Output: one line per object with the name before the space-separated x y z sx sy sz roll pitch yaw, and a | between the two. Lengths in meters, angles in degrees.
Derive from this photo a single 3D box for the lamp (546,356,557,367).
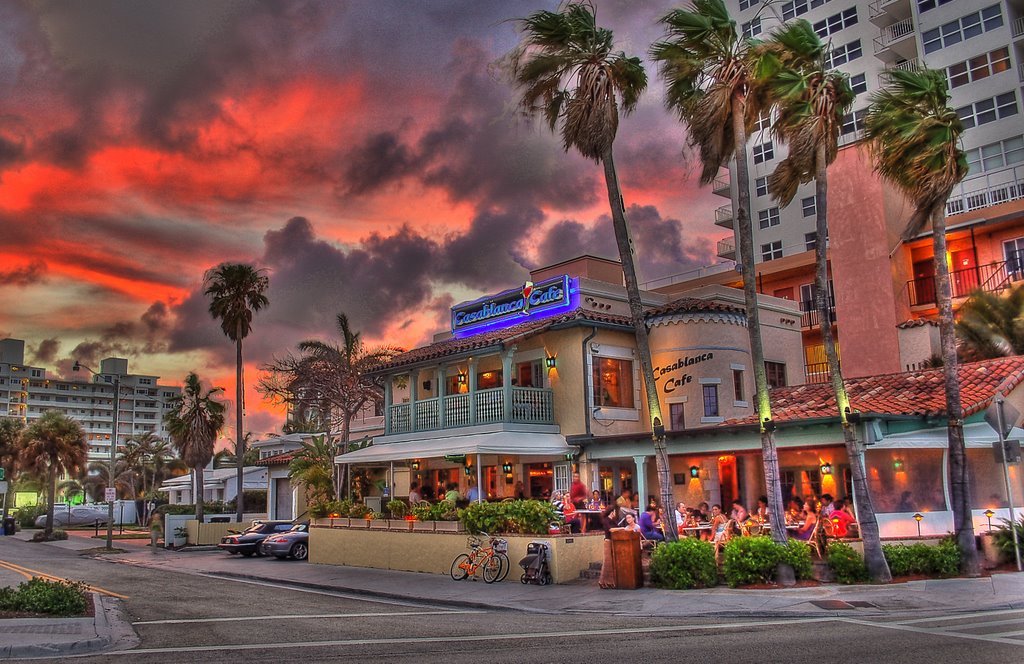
lamp | 1.777 1.340 31.388 0.530 0.462 0.273 -5 -19 13

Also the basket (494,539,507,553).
basket | -0.343 7.278 24.099 0.366 0.482 0.494 -2 -17 1

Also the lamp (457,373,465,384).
lamp | -2.280 2.171 33.075 0.350 0.654 0.466 1 -4 -21

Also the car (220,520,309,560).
car | -12.674 10.415 35.845 4.718 1.736 1.828 -11 -21 28

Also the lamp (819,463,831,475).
lamp | 12.774 5.572 28.856 0.395 0.585 0.429 1 -4 -8

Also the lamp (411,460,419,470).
lamp | -4.866 6.777 36.026 0.382 0.383 0.380 1 -1 -9

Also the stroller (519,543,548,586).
stroller | 0.753 7.749 23.639 0.997 1.339 1.275 -9 -17 28

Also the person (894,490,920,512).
person | 13.899 5.985 25.056 0.673 1.203 0.656 7 -5 -42

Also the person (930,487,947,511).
person | 14.847 5.804 24.747 0.505 0.871 0.914 -7 -19 20

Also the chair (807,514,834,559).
chair | 9.764 6.493 22.525 0.652 1.348 2.108 -8 -20 23

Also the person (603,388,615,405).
person | 4.139 2.900 30.969 0.574 1.012 0.556 -5 -5 15

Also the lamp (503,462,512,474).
lamp | -0.188 6.002 31.510 0.477 0.506 0.475 -5 -19 13

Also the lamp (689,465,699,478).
lamp | 7.535 5.741 29.281 0.388 0.494 0.545 -6 -19 16
